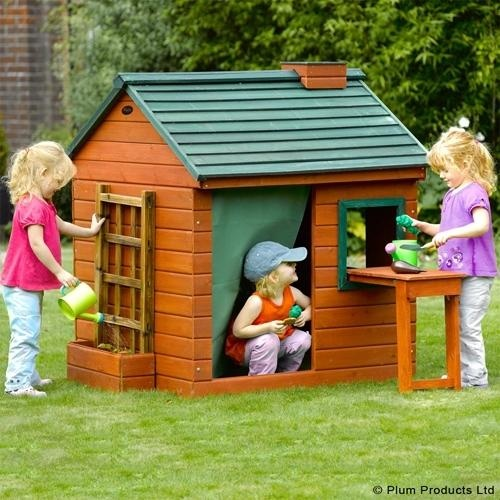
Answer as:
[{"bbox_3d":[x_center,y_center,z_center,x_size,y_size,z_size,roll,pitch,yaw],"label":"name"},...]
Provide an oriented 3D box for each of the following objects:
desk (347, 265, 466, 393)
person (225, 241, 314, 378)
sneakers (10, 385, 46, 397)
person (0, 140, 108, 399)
[{"bbox_3d":[0.793,0.442,8.831,0.826,0.761,0.470,-4,6,-30],"label":"desk"},{"bbox_3d":[0.112,0.388,9.206,0.532,0.916,0.547,-6,9,-33],"label":"person"},{"bbox_3d":[-1.353,0.863,8.885,0.226,0.094,0.078,-1,-1,-1],"label":"sneakers"},{"bbox_3d":[-1.280,0.114,8.983,0.519,1.559,0.440,-2,-6,6],"label":"person"}]
